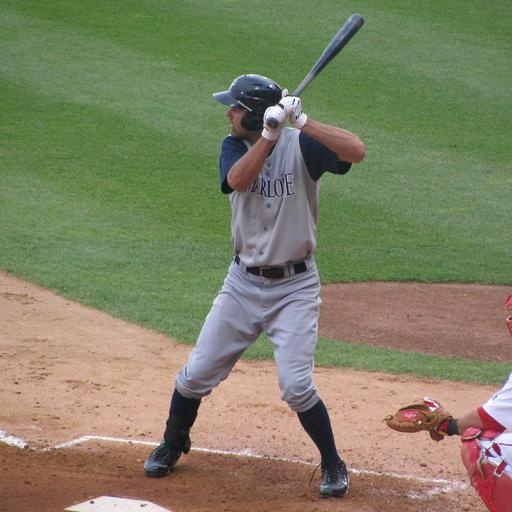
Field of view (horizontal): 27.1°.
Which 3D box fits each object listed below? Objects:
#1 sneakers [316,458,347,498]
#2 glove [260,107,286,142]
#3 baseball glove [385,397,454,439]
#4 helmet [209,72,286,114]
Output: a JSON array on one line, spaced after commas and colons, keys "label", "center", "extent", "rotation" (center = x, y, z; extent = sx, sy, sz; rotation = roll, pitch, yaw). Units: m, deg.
[{"label": "sneakers", "center": [0.660, 1.872, 8.968], "extent": [0.281, 0.199, 0.270], "rotation": [19, 12, 7]}, {"label": "glove", "center": [0.141, -1.087, 8.716], "extent": [0.172, 0.291, 0.099], "rotation": [20, 12, 10]}, {"label": "baseball glove", "center": [1.333, 1.318, 8.654], "extent": [0.447, 0.241, 0.331], "rotation": [4, 21, 4]}, {"label": "helmet", "center": [-0.080, -1.385, 9.029], "extent": [0.480, 0.228, 0.315], "rotation": [1, 10, -2]}]
